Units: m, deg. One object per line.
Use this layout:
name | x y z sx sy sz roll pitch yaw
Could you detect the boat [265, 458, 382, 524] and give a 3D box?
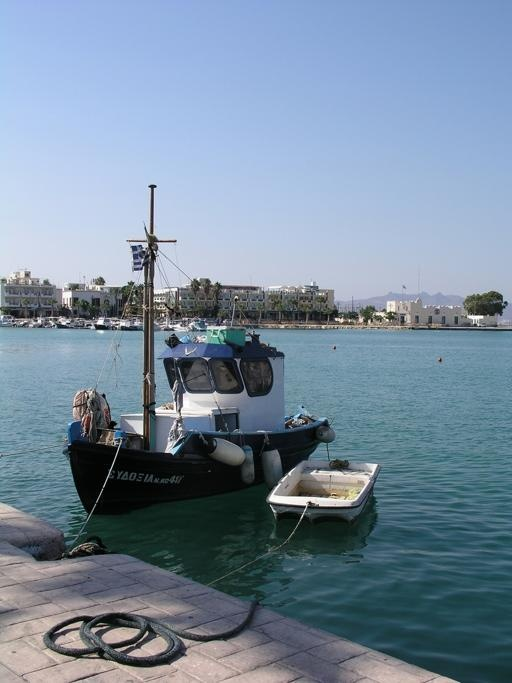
boat | 1.565 3.381 16.242 2.029 0.685 3.702 2 4 17
